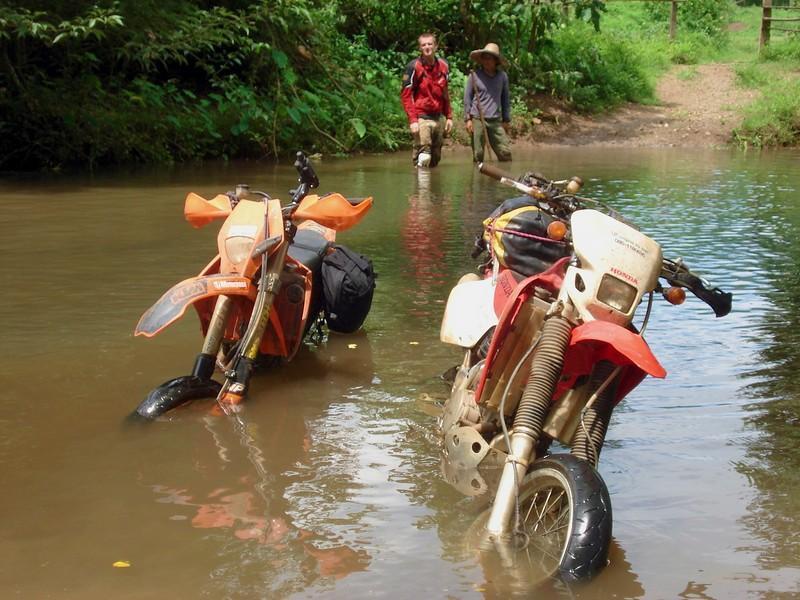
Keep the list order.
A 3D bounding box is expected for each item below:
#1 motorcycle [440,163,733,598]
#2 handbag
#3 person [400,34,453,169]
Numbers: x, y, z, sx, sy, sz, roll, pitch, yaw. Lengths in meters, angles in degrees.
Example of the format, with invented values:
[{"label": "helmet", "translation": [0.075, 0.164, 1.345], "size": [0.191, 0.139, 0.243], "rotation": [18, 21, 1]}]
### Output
[{"label": "motorcycle", "translation": [0.700, 0.239, 3.807], "size": [1.108, 1.477, 1.711], "rotation": [-2, 18, 6]}, {"label": "handbag", "translation": [-0.368, -0.083, 5.816], "size": [0.324, 0.536, 0.446], "rotation": [14, 34, 9]}, {"label": "person", "translation": [0.545, -3.969, 17.206], "size": [0.989, 2.609, 0.524], "rotation": [-14, 22, -26]}]
